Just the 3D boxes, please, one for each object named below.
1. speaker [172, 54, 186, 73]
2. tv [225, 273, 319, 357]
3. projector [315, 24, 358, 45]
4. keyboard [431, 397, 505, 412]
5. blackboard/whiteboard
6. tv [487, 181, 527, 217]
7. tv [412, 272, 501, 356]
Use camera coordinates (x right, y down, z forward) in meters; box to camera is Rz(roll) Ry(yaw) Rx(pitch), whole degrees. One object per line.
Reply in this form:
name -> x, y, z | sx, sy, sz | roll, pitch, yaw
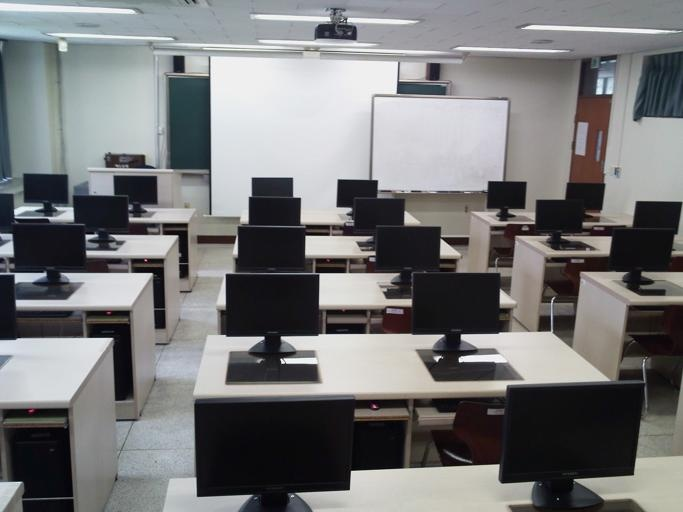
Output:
speaker -> -2.437, -2.873, 8.410 | 0.198, 0.245, 0.100 | -5, 16, -14
tv -> -0.426, 0.346, 3.419 | 0.517, 0.428, 0.218 | 0, 3, -3
projector -> -0.047, -1.996, 5.040 | 0.264, 0.090, 0.190 | 0, 11, -8
keyboard -> 0.688, 0.824, 3.115 | 0.213, 0.041, 0.189 | 0, 2, 5
blackboard/whiteboard -> 0.482, -1.794, 8.656 | 4.262, 1.712, 0.255 | -2, 15, -3
tv -> 2.101, -0.733, 7.176 | 0.523, 0.492, 0.183 | 0, 13, 0
tv -> 0.706, 0.343, 3.616 | 0.570, 0.480, 0.255 | 1, 0, -6
